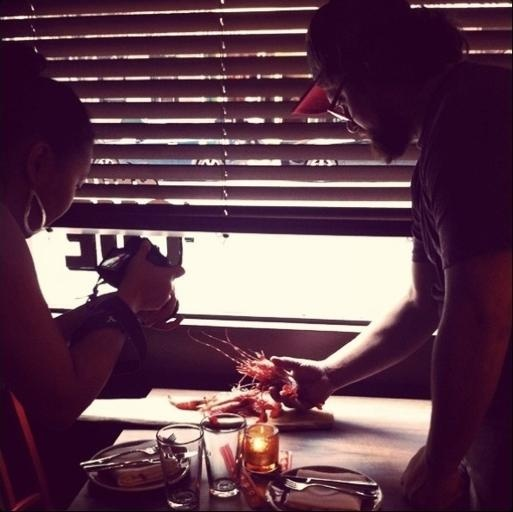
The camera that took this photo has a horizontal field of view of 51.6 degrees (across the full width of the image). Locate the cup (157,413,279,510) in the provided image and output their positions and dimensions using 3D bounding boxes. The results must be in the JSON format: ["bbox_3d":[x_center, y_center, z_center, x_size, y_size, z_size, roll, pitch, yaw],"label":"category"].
[{"bbox_3d":[-0.110,0.423,1.169,0.116,0.221,0.188,1,9,-18],"label":"cup"}]

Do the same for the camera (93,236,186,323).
[{"bbox_3d":[-0.326,0.048,1.436,0.212,0.253,0.241,0,12,-19],"label":"camera"}]
